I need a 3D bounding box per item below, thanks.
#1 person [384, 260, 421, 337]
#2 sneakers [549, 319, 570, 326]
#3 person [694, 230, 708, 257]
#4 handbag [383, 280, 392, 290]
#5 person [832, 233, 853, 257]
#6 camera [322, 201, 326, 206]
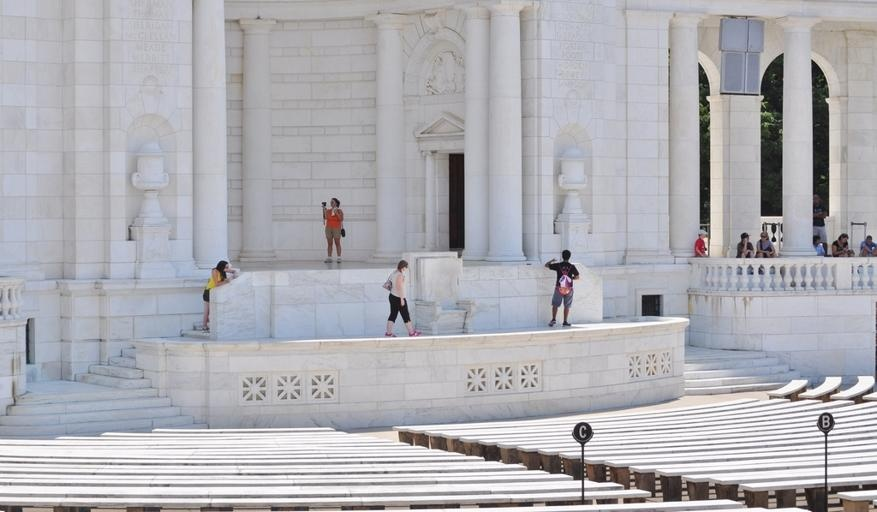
[{"bbox_3d":[-1.292,1.262,65.886,1.083,2.411,1.495,-2,0,-1],"label":"person"},{"bbox_3d":[3.986,2.161,68.289,0.765,0.253,0.230,0,-1,-2],"label":"sneakers"},{"bbox_3d":[9.557,-0.578,74.781,0.417,0.915,0.769,-2,0,10],"label":"person"},{"bbox_3d":[-1.728,0.849,65.883,0.263,0.244,0.138,39,-6,10],"label":"handbag"},{"bbox_3d":[14.728,-0.509,74.464,0.712,0.762,0.932,-2,0,10],"label":"person"},{"bbox_3d":[-4.365,-2.055,75.802,0.177,0.134,0.145,2,8,6],"label":"camera"}]
